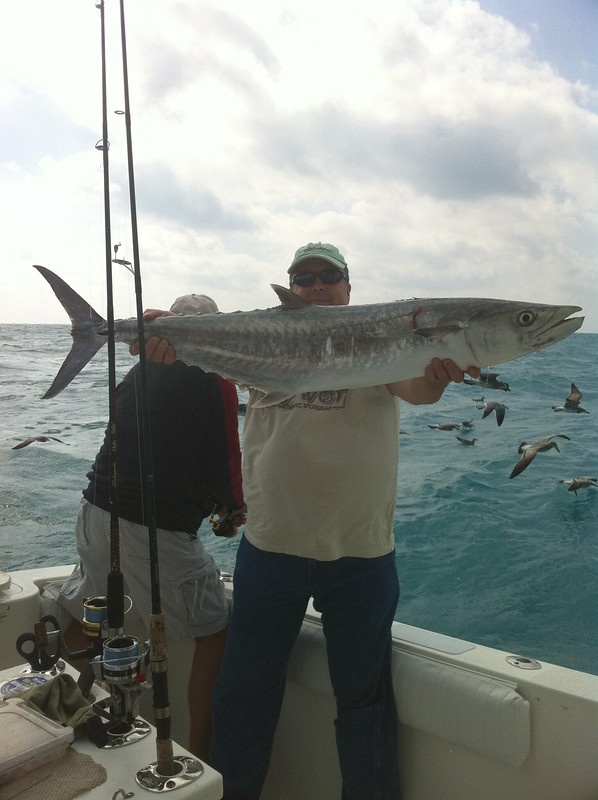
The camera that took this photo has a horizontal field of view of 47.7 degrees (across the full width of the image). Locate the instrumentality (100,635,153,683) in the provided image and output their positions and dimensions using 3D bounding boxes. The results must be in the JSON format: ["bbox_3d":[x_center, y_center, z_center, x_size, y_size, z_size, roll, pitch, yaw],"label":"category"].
[{"bbox_3d":[-0.485,0.747,1.967,0.134,0.127,0.156,0,-16,2],"label":"instrumentality"}]

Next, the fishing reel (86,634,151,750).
[{"bbox_3d":[-0.498,0.825,1.918,0.164,0.274,0.241,-1,11,7],"label":"fishing reel"}]

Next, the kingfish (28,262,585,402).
[{"bbox_3d":[0.121,-0.193,2.527,1.932,0.435,0.436,-2,9,-11],"label":"kingfish"}]
